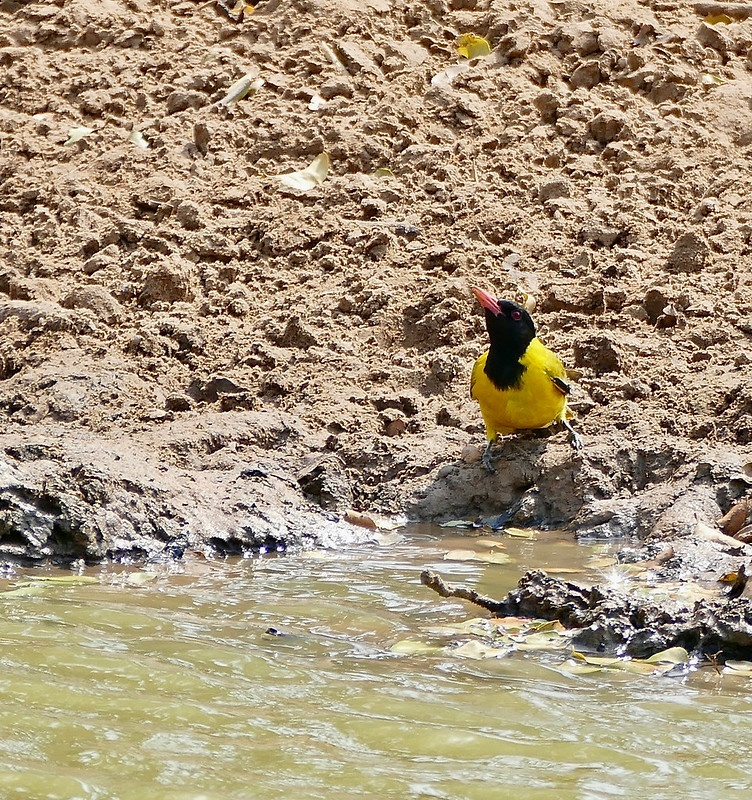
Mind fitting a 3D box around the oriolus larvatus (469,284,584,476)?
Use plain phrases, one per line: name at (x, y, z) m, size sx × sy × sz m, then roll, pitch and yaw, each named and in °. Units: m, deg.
oriolus larvatus at (0.700, -0.110, 7.594) m, size 0.478 × 0.910 × 0.305 m, roll 1°, pitch 11°, yaw 3°
